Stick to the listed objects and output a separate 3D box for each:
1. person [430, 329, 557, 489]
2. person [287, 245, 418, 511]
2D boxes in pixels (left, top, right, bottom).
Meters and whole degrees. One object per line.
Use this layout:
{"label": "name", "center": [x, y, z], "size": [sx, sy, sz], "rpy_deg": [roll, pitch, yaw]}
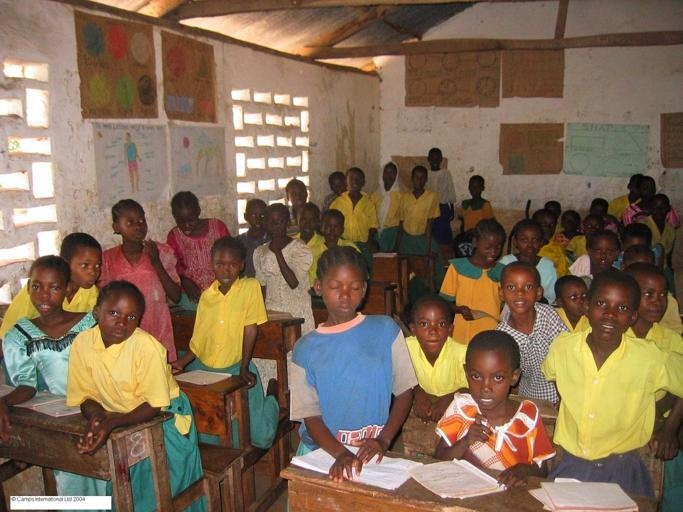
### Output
{"label": "person", "center": [0.670, 0.806, 2.874], "size": [0.524, 0.884, 0.471], "rpy_deg": [1, 3, 26]}
{"label": "person", "center": [-0.006, 0.414, 2.725], "size": [0.445, 0.860, 0.486], "rpy_deg": [5, 12, 35]}
